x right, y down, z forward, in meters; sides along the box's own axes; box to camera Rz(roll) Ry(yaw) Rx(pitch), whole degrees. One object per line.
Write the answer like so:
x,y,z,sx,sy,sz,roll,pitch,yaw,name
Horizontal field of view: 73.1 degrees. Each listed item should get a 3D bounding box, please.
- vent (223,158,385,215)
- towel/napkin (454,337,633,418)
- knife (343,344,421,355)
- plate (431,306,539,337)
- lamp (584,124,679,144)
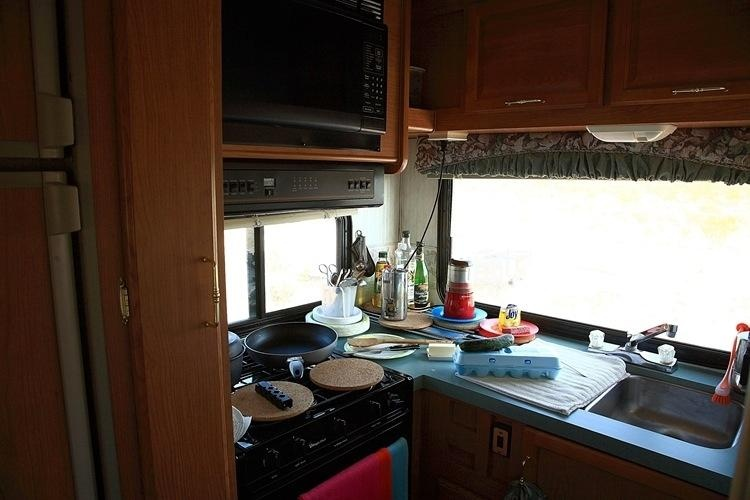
-0.257,-0.234,1.914,0.733,0.200,0.098,-6,8,-44,vent
0.705,0.485,2.109,0.606,0.155,0.481,-6,8,-43,towel/napkin
0.018,0.443,2.241,0.254,0.031,0.050,-1,8,-2,knife
0.444,0.358,2.486,0.295,0.039,0.198,8,20,28,plate
0.973,-0.447,1.939,0.278,0.057,0.200,3,7,33,lamp
